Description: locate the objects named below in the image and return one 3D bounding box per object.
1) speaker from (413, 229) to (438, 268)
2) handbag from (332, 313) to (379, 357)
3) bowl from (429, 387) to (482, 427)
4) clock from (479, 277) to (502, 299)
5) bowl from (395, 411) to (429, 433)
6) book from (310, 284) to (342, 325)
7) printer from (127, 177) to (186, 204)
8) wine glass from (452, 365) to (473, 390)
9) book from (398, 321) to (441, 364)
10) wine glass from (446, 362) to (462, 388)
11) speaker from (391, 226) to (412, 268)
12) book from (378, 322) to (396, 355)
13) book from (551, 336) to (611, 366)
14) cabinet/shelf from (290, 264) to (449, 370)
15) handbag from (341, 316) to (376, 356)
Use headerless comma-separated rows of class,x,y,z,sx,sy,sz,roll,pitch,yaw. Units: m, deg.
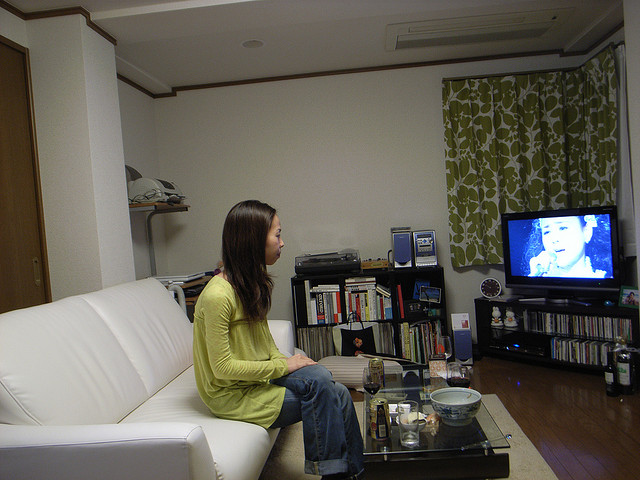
speaker,0.984,0.080,4.418,0.237,0.315,0.420,-2,8,12
handbag,0.337,0.850,4.253,0.403,0.417,0.156,-6,11,0
bowl,0.733,0.876,2.571,0.191,0.104,0.197,-2,-2,0
clock,1.584,0.439,4.381,0.163,0.190,0.177,0,-2,6
bowl,0.483,0.955,2.521,0.119,0.072,0.129,1,-4,0
book,0.054,0.606,4.582,0.280,0.446,0.407,-2,-8,-4
printer,-1.453,-0.386,4.040,0.320,0.138,0.246,-1,0,20
wine glass,0.822,0.798,2.748,0.135,0.151,0.110,0,-1,13
book,0.885,0.912,4.184,0.401,0.450,0.244,-2,-2,3
wine glass,0.763,0.761,2.680,0.100,0.168,0.108,3,-1,21
speaker,0.780,0.070,4.451,0.188,0.375,0.144,-2,1,11
book,0.609,0.905,4.314,0.173,0.295,0.077,-2,1,-7
book,2.108,0.909,3.828,0.420,0.195,0.066,-1,1,41
cabinet/shelf,0.420,0.697,4.180,0.771,0.787,0.251,-1,4,3
handbag,0.347,0.871,4.260,0.350,0.424,0.198,-6,14,3
